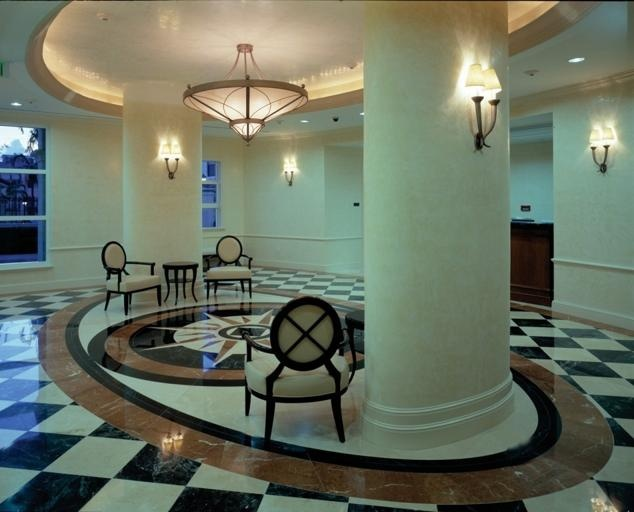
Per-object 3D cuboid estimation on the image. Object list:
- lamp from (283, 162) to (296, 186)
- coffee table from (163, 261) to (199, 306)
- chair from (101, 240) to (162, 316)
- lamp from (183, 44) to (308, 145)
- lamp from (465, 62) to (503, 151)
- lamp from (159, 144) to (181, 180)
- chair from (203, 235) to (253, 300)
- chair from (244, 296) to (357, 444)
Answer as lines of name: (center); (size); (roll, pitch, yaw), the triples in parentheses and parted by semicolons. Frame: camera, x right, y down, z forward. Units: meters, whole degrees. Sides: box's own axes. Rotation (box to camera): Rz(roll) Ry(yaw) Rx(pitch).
lamp: (-0.752, -2.264, 12.247); (0.404, 0.690, 0.123); (6, 10, 36)
coffee table: (-2.566, 0.492, 8.407); (0.600, 0.683, 0.642); (-2, -2, 17)
chair: (-3.255, 0.349, 7.692); (0.868, 1.163, 0.861); (2, 7, 7)
lamp: (-0.981, -2.176, 6.162); (1.358, 1.040, 1.397); (-4, -5, 30)
lamp: (1.351, -1.199, 3.632); (0.387, 0.665, 0.116); (-5, 9, -27)
lamp: (-2.727, -1.797, 8.296); (0.391, 0.628, 0.274); (0, 5, 15)
chair: (-1.814, 0.190, 8.990); (0.884, 1.236, 0.929); (-1, 4, -21)
chair: (-0.174, 0.919, 3.983); (0.886, 1.228, 0.874); (0, 6, -9)
